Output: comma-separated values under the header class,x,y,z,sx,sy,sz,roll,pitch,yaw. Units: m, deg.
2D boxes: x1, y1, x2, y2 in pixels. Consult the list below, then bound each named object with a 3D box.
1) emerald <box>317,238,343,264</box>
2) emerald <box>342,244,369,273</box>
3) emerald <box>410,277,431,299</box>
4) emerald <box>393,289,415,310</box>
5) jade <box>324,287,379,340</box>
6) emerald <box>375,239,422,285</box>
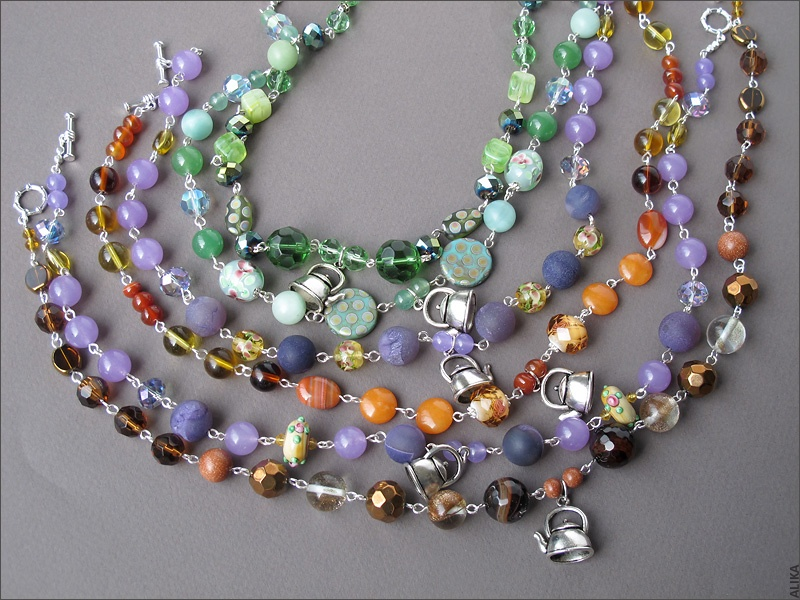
class,x,y,z,sx,sy,sz,roll,pitch,yaw
emerald,-0.308,-0.214,3.681,0.093,0.064,0.107,-30,-96,-6
emerald,-0.193,-0.185,3.713,0.111,0.094,0.094,3,-41,28
emerald,0.083,-0.054,3.639,0.071,0.071,0.094,6,-50,-2
emerald,0.017,0.001,3.651,0.088,0.062,0.088,-2,-74,-2
jade,-0.206,0.065,3.653,0.208,0.113,0.206,-44,-76,10
emerald,-0.016,-0.169,3.612,0.167,0.179,0.138,-1,-57,-1
